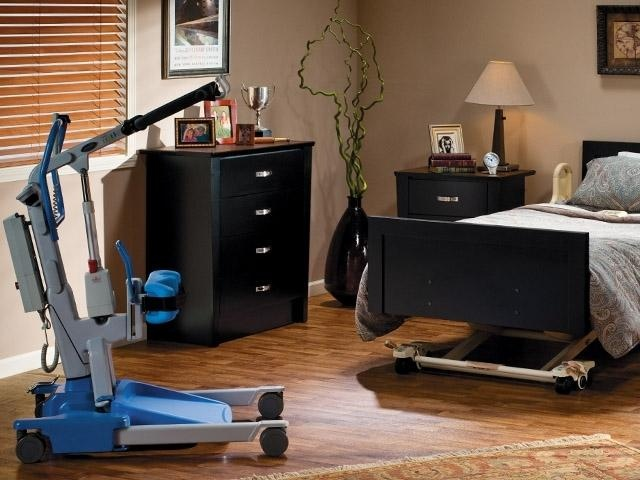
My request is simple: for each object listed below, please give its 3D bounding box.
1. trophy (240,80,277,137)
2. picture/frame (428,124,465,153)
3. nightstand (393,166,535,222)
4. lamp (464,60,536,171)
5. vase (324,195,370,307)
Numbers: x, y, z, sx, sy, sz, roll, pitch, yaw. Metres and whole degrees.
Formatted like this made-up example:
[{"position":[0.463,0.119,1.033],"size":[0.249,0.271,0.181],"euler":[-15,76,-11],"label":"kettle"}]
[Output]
[{"position":[-0.432,-0.870,3.934],"size":[0.160,0.345,0.190],"euler":[4,11,37],"label":"trophy"},{"position":[0.983,-0.805,4.583],"size":[0.251,0.298,0.029],"euler":[-2,-7,-12],"label":"picture/frame"},{"position":[0.988,-0.348,4.305],"size":[0.796,0.435,0.556],"euler":[-5,12,-16],"label":"nightstand"},{"position":[1.355,-0.982,4.437],"size":[0.430,0.876,0.417],"euler":[5,14,23],"label":"lamp"},{"position":[0.200,0.091,4.269],"size":[0.249,0.815,0.291],"euler":[-5,12,-24],"label":"vase"}]
